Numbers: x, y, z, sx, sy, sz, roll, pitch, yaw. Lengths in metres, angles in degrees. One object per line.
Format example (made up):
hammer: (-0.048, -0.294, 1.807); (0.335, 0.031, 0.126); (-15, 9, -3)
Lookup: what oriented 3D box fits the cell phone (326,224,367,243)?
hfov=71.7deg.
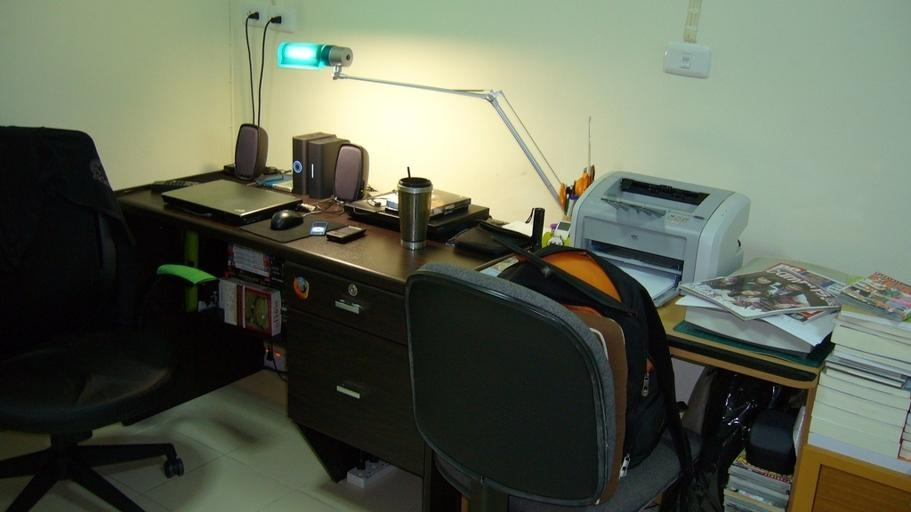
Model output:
cell phone: (-0.505, -0.107, 2.953); (0.090, 0.027, 0.122); (16, 24, 32)

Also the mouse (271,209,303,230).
mouse: (-0.802, -0.176, 2.991); (0.081, 0.047, 0.136); (13, 23, 25)

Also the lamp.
lamp: (-0.192, -0.685, 3.130); (1.563, 0.624, 0.220); (13, 22, 19)

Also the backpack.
backpack: (0.431, 0.387, 2.467); (0.732, 0.840, 0.472); (17, 32, 40)

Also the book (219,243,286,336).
book: (-1.033, 0.161, 3.235); (0.451, 0.429, 0.109); (11, 7, 31)

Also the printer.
printer: (0.808, -0.104, 2.747); (0.670, 0.291, 0.715); (-27, 32, -34)
